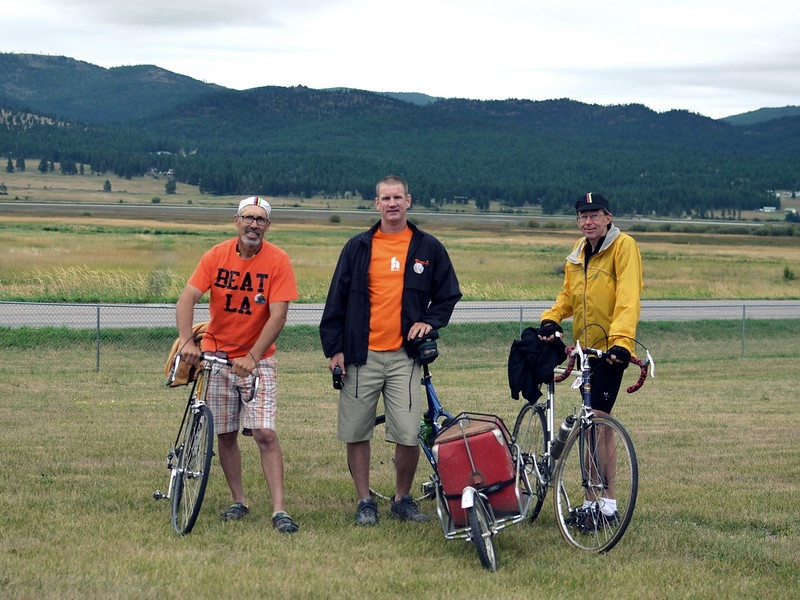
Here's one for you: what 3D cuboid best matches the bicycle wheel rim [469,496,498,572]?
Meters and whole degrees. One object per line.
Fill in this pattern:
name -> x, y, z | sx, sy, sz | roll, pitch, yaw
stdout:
bicycle wheel rim -> 1.604, 4.612, 31.730 | 0.645, 1.435, 0.480 | 2, 5, 11

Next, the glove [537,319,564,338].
glove -> 3.017, 0.554, 32.518 | 0.430, 0.293, 0.586 | 0, 5, 5

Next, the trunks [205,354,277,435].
trunks -> -3.262, 1.859, 33.107 | 1.677, 2.359, 1.369 | 0, -1, 0

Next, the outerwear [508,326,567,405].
outerwear -> 2.792, 1.323, 32.703 | 1.098, 1.520, 0.629 | 11, -1, 26

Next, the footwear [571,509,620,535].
footwear -> 3.803, 4.430, 32.265 | 1.128, 0.508, 0.429 | -8, 11, 5

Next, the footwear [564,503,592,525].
footwear -> 3.553, 4.330, 32.241 | 0.381, 0.483, 0.205 | 44, -5, -13

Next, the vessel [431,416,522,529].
vessel -> 1.492, 3.473, 31.992 | 1.563, 2.347, 1.523 | -17, 0, 5

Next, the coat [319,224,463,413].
coat -> -0.256, -0.179, 32.995 | 2.770, 2.806, 1.520 | 1, 14, -4

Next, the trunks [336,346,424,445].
trunks -> -0.444, 1.876, 32.676 | 1.792, 2.509, 0.915 | 3, -1, -3

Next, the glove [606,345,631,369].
glove -> 4.342, 1.118, 32.051 | 0.501, 0.488, 0.338 | 2, 5, 3

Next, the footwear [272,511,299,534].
footwear -> -2.359, 4.489, 32.329 | 0.527, 0.399, 0.273 | 1, 5, -4
